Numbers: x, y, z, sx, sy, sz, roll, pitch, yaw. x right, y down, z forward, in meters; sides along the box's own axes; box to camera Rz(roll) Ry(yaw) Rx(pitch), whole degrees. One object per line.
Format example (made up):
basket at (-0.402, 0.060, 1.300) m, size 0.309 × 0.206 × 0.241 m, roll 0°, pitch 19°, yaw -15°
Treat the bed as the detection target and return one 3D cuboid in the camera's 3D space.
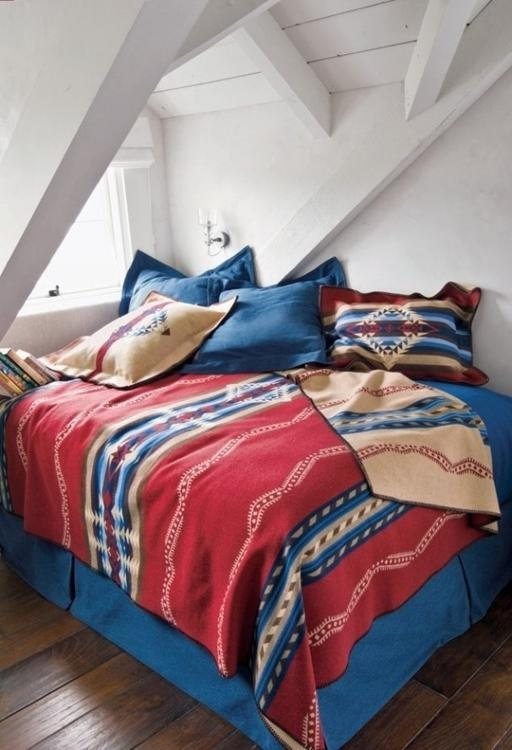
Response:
bed at (-0.015, 0.409, 1.791) m, size 1.271 × 0.637 × 1.101 m, roll 7°, pitch 15°, yaw 39°
